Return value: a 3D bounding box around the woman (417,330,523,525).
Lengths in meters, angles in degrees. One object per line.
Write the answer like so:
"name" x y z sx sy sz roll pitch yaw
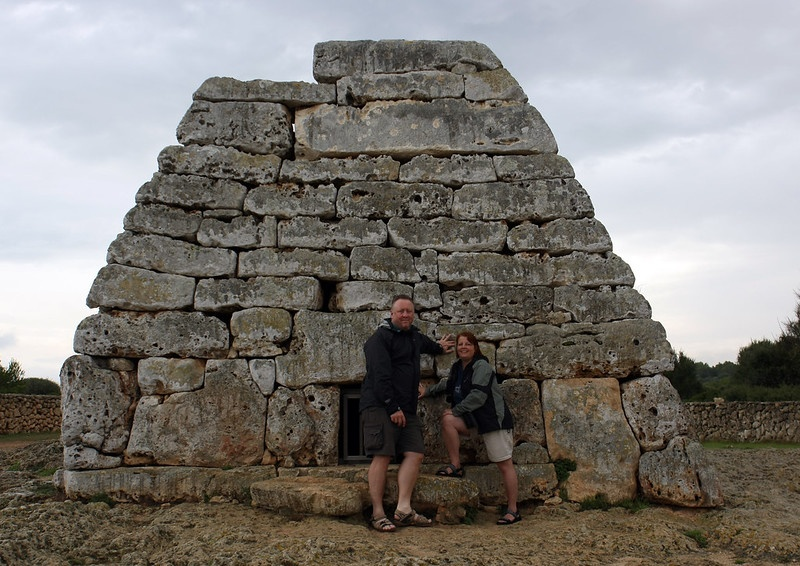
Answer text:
"woman" 0.780 1.726 9.064 0.986 2.157 1.084 13 -29 -20

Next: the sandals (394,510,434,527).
"sandals" 0.128 2.549 8.562 0.359 0.166 0.175 -1 -7 -6

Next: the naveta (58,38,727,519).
"naveta" -0.171 0.187 10.686 7.580 6.179 2.963 0 -16 0

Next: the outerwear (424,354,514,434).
"outerwear" 0.733 1.256 9.186 1.111 0.859 0.861 -4 -10 10

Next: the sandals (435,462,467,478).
"sandals" 0.580 2.148 9.141 0.338 0.147 0.142 5 -12 -1

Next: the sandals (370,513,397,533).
"sandals" -0.191 2.550 8.477 0.266 0.166 0.149 -2 -10 -1
